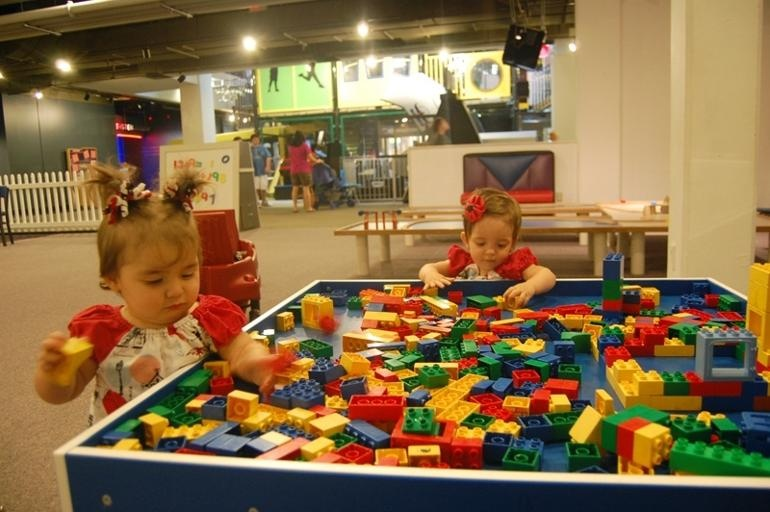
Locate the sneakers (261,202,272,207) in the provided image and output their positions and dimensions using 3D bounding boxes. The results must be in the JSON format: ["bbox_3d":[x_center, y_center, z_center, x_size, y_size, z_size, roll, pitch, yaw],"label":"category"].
[{"bbox_3d":[-2.255,-0.960,11.430,0.068,0.117,0.184,13,18,30],"label":"sneakers"}]

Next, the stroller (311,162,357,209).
[{"bbox_3d":[-0.993,-1.377,11.822,0.875,0.792,0.811,-1,14,-5],"label":"stroller"}]

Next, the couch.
[{"bbox_3d":[1.322,-0.767,6.253,1.084,0.721,0.532,0,7,7],"label":"couch"}]

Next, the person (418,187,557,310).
[{"bbox_3d":[0.521,-0.007,2.992,0.834,0.586,0.580,3,9,19],"label":"person"}]

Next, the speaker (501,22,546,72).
[{"bbox_3d":[1.862,-2.830,8.232,0.542,0.592,0.302,-2,9,6],"label":"speaker"}]
